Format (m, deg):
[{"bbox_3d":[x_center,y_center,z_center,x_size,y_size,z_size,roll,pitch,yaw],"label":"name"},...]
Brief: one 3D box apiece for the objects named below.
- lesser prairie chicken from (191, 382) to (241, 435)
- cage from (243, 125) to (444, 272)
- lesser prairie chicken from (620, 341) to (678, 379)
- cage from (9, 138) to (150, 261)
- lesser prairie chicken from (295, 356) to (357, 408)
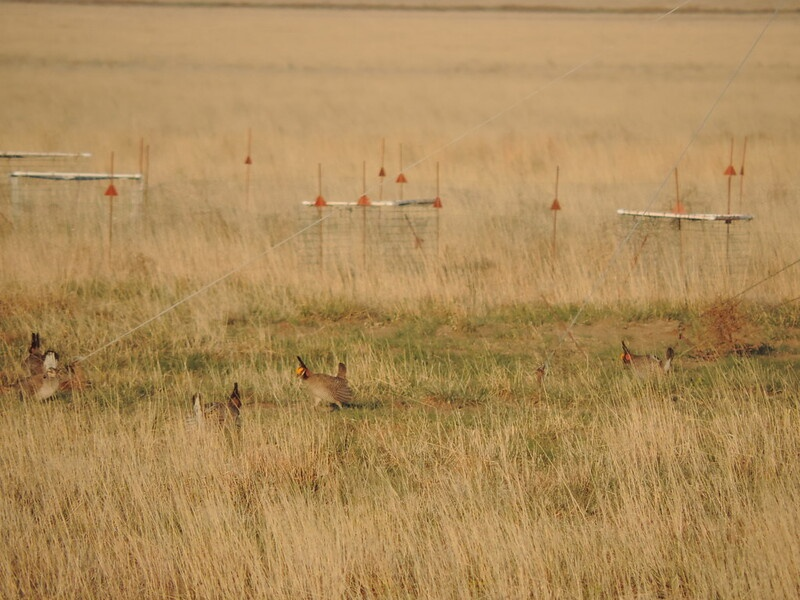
[{"bbox_3d":[-1.126,0.701,11.534,0.450,0.401,0.162,-1,-3,-10],"label":"lesser prairie chicken"},{"bbox_3d":[-0.191,-0.661,13.190,0.962,0.648,0.960,-2,9,-23],"label":"cage"},{"bbox_3d":[1.573,0.388,11.901,0.390,0.329,0.163,0,-11,9],"label":"lesser prairie chicken"},{"bbox_3d":[-2.152,-0.659,12.059,0.971,0.713,0.399,6,15,20],"label":"cage"},{"bbox_3d":[-0.485,0.504,11.873,0.350,0.369,0.382,0,14,-3],"label":"lesser prairie chicken"}]
